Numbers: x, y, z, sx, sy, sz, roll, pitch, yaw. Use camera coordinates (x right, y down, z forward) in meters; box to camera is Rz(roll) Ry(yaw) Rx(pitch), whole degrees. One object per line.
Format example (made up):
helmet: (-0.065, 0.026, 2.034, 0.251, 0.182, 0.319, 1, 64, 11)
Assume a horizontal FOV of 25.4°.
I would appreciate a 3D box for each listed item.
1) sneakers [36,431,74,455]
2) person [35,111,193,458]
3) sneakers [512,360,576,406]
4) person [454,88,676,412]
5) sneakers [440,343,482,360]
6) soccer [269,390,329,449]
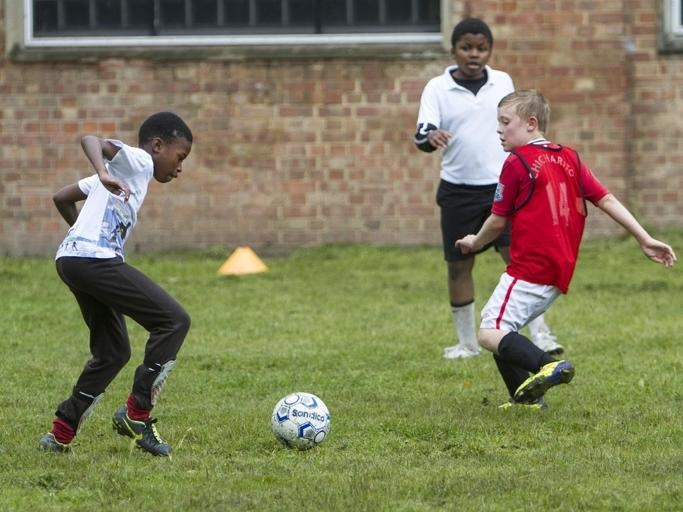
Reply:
sneakers: (-1.819, 1.170, 9.591, 0.099, 0.091, 0.193, 9, 5, 42)
person: (-1.429, 0.154, 9.681, 0.942, 2.137, 0.527, 0, 7, -6)
sneakers: (1.288, 0.797, 9.865, 0.428, 0.199, 0.194, -37, 31, 16)
person: (1.301, -0.029, 9.892, 1.134, 2.079, 0.483, 2, 7, 9)
sneakers: (0.869, 0.685, 11.183, 0.288, 0.131, 0.110, 4, -4, -4)
soccer: (-0.262, 1.049, 9.664, 0.340, 0.362, 0.316, -1, -23, -2)
